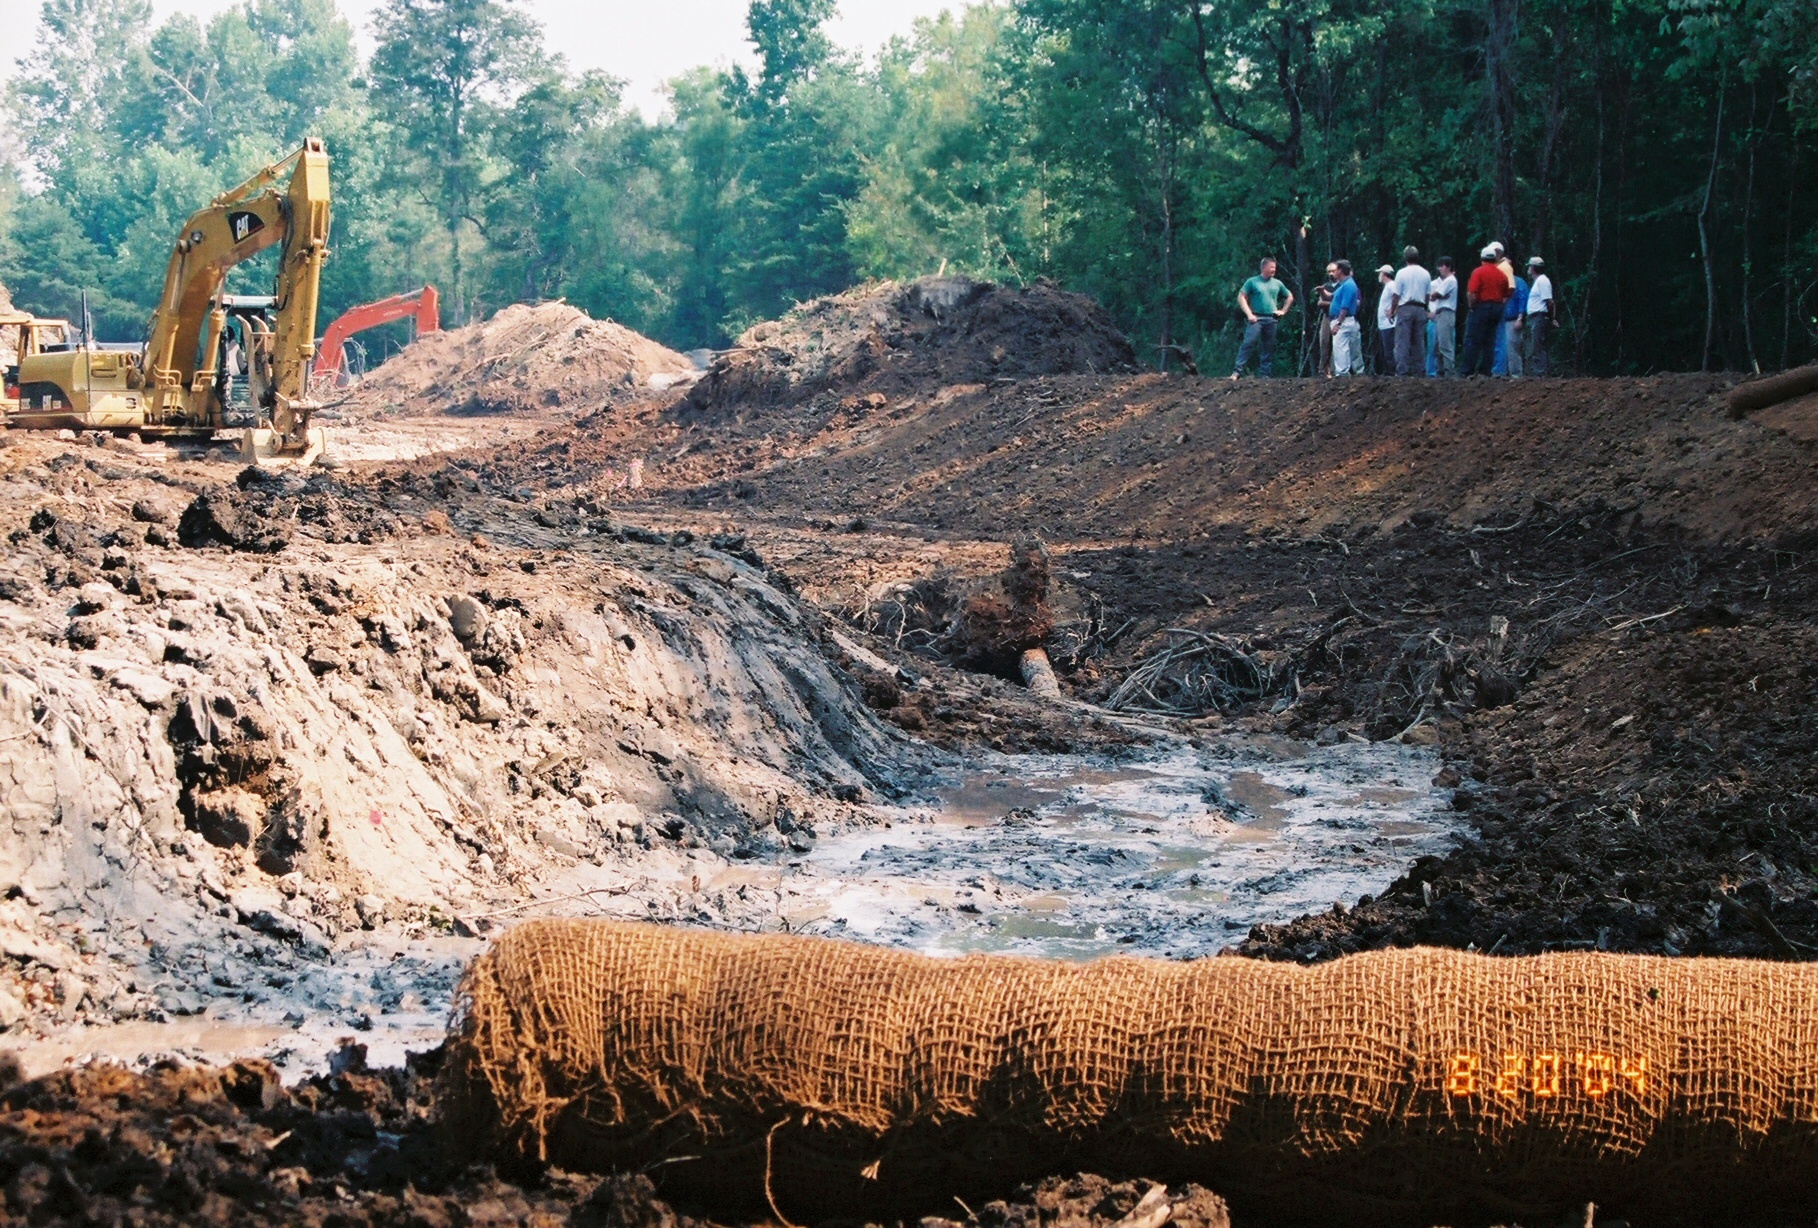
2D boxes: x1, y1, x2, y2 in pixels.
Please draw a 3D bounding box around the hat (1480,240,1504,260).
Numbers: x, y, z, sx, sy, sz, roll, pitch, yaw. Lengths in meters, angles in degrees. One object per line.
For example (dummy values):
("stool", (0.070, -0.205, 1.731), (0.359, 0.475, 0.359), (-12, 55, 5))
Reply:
("hat", (9.397, -5.945, 44.251), (0.407, 0.234, 0.547), (5, 7, 23))
